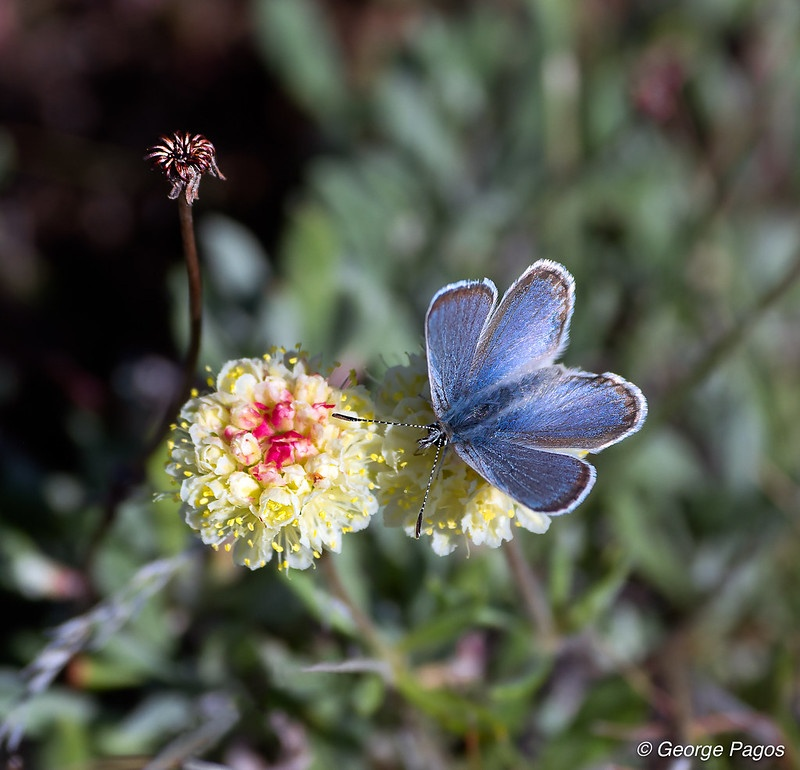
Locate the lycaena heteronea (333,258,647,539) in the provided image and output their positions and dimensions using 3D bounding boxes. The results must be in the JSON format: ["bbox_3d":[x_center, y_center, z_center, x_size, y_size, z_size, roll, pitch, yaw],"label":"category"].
[{"bbox_3d":[0.138,0.005,1.102,0.224,0.111,0.237,-40,88,-26],"label":"lycaena heteronea"}]

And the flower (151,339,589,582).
[{"bbox_3d":[-0.041,0.085,1.056,0.364,0.172,0.243,-1,69,-11],"label":"flower"}]
